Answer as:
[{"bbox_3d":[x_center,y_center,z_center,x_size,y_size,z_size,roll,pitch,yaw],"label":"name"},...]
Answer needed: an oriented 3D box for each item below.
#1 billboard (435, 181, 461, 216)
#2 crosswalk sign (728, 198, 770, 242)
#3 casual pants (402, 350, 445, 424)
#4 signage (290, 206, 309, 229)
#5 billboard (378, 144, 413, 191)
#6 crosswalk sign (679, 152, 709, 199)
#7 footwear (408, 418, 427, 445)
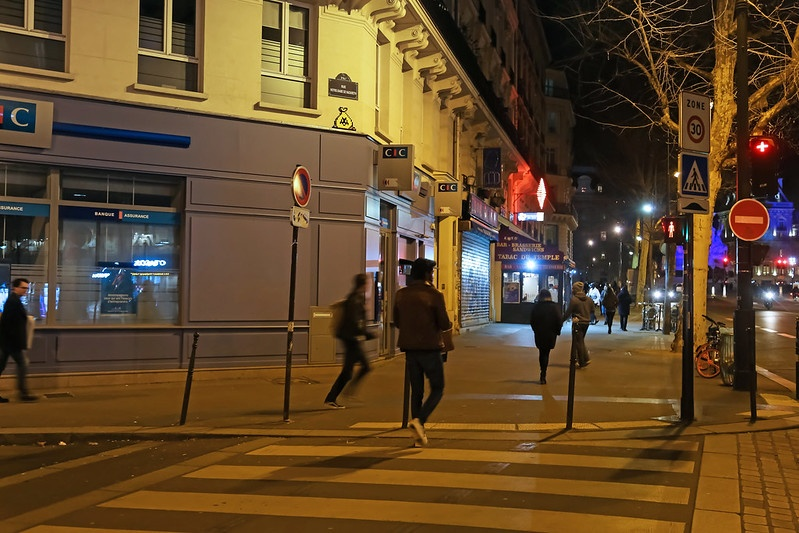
[{"bbox_3d":[1.581,-2.124,25.139,0.904,1.140,0.662,1,-1,14],"label":"billboard"},{"bbox_3d":[6.866,-0.903,15.630,0.767,0.819,0.086,2,-6,3],"label":"crosswalk sign"},{"bbox_3d":[0.416,1.919,12.556,0.582,1.189,0.691,-1,6,-9],"label":"casual pants"},{"bbox_3d":[-1.788,-0.870,14.279,0.104,0.420,0.579,1,-2,30],"label":"signage"},{"bbox_3d":[-0.068,-2.391,19.295,0.990,1.244,0.401,0,-8,7],"label":"billboard"},{"bbox_3d":[5.282,-1.620,14.310,0.795,0.961,0.127,2,-2,-12],"label":"crosswalk sign"},{"bbox_3d":[0.302,2.612,12.362,0.175,0.517,0.216,-2,21,35],"label":"footwear"}]
